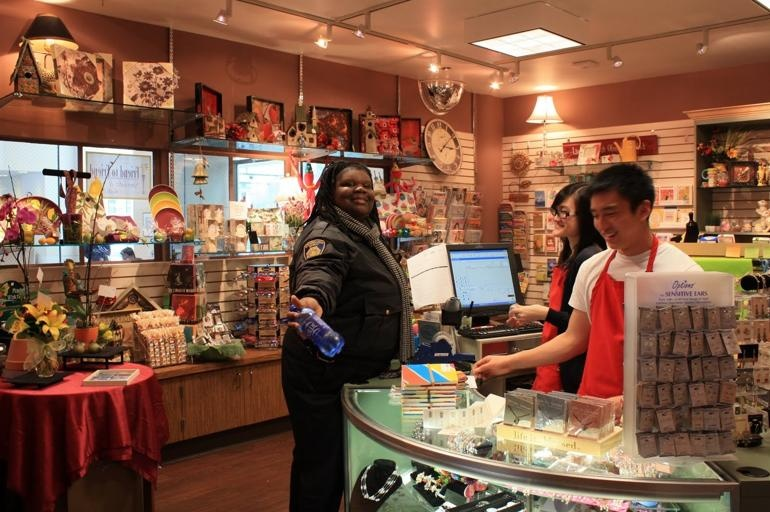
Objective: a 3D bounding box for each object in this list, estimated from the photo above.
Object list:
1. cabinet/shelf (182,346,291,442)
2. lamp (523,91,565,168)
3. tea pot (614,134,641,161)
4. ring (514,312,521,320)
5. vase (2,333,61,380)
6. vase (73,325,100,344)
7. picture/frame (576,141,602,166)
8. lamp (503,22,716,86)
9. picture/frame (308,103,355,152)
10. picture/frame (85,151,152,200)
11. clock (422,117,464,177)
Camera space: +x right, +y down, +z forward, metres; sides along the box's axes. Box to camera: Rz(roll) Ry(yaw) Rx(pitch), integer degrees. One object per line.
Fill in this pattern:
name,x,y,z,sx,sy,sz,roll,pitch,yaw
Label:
cabinet/shelf,-1.346,1.245,4.890,1.227,0.660,0.650,0,-4,-44
lamp,2.210,-1.760,7.358,0.440,0.930,0.746,-1,3,16
tea pot,3.123,-1.381,6.944,0.287,0.359,0.253,1,4,37
ring,0.786,0.352,3.183,0.038,0.033,0.064,5,6,4
vase,-2.340,0.660,3.549,0.328,0.212,0.321,2,-4,-43
vase,-2.154,0.558,3.862,0.149,0.117,0.147,-3,3,-25
picture/frame,2.737,-1.359,7.170,0.054,0.365,0.357,13,-2,-44
lamp,2.415,-2.096,5.805,2.019,0.271,0.960,0,3,24
picture/frame,-0.603,-1.388,5.847,0.045,0.458,0.718,-11,-7,42
picture/frame,-2.407,-0.720,4.795,0.576,0.385,0.011,-1,2,-33
clock,0.737,-1.430,7.061,0.117,0.705,0.809,-14,-22,39
